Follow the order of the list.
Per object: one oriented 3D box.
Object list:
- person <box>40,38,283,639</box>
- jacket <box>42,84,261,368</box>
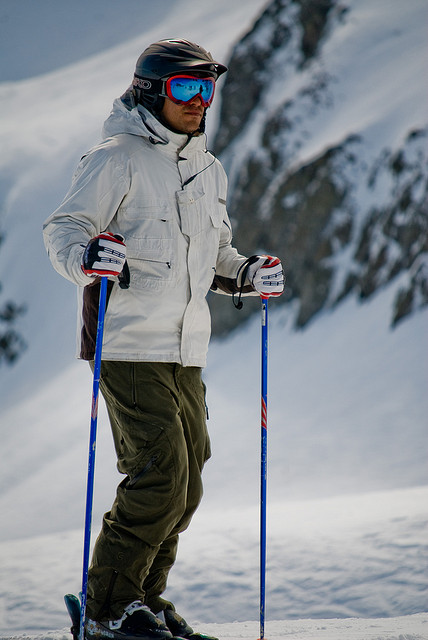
[{"bbox_3d":[-0.400,0.017,5.005,0.920,2.894,0.648,5,1,-9],"label":"person"},{"bbox_3d":[-0.358,-0.409,5.164,0.815,1.556,0.860,-10,14,-41],"label":"jacket"}]
